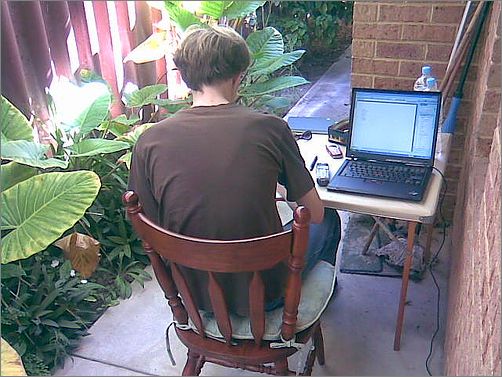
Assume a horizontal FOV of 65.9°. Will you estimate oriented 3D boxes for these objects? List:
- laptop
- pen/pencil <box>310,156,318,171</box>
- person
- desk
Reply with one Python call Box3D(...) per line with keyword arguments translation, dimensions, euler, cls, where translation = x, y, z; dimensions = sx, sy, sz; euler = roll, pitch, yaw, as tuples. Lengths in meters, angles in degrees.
Box3D(translation=(0.673, -0.244, 2.064), dimensions=(0.651, 0.561, 0.527), euler=(11, 32, 19), cls="laptop")
Box3D(translation=(0.333, -0.134, 2.062), dimensions=(0.017, 0.017, 0.118), euler=(37, 52, 3), cls="pen/pencil")
Box3D(translation=(-0.038, 0.025, 1.525), dimensions=(0.466, 1.224, 0.624), euler=(8, 25, 24), cls="person")
Box3D(translation=(0.679, 0.115, 2.365), dimensions=(1.147, 1.175, 1.036), euler=(10, 35, 21), cls="desk")
